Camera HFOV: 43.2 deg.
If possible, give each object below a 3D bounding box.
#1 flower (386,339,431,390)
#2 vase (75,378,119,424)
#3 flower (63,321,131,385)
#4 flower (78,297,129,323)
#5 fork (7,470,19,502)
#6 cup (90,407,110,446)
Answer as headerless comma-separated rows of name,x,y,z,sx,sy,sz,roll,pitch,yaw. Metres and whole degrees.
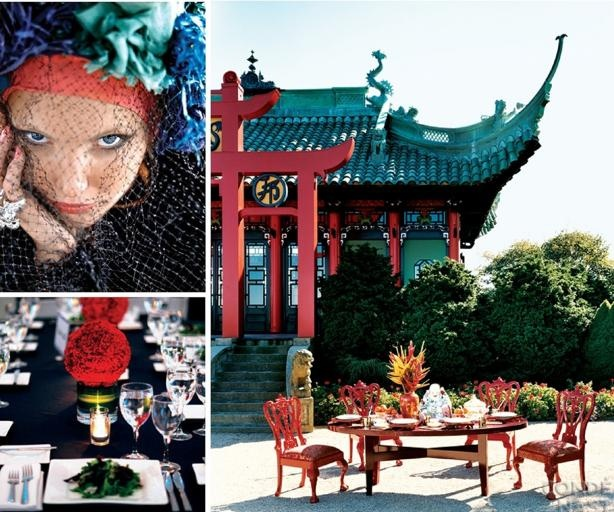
flower,1.083,1.295,8.944,0.308,0.470,0.417,-12,5,19
vase,-1.612,1.122,6.007,0.315,0.384,0.335,-1,-2,1
flower,-1.591,0.742,5.942,0.396,0.501,0.474,-8,-12,-26
flower,-1.902,0.493,7.252,0.289,0.239,0.298,1,-4,17
fork,-2.225,1.757,5.889,0.068,0.279,0.038,0,-1,2
cup,-1.548,1.278,5.803,0.141,0.320,0.129,-2,4,0
